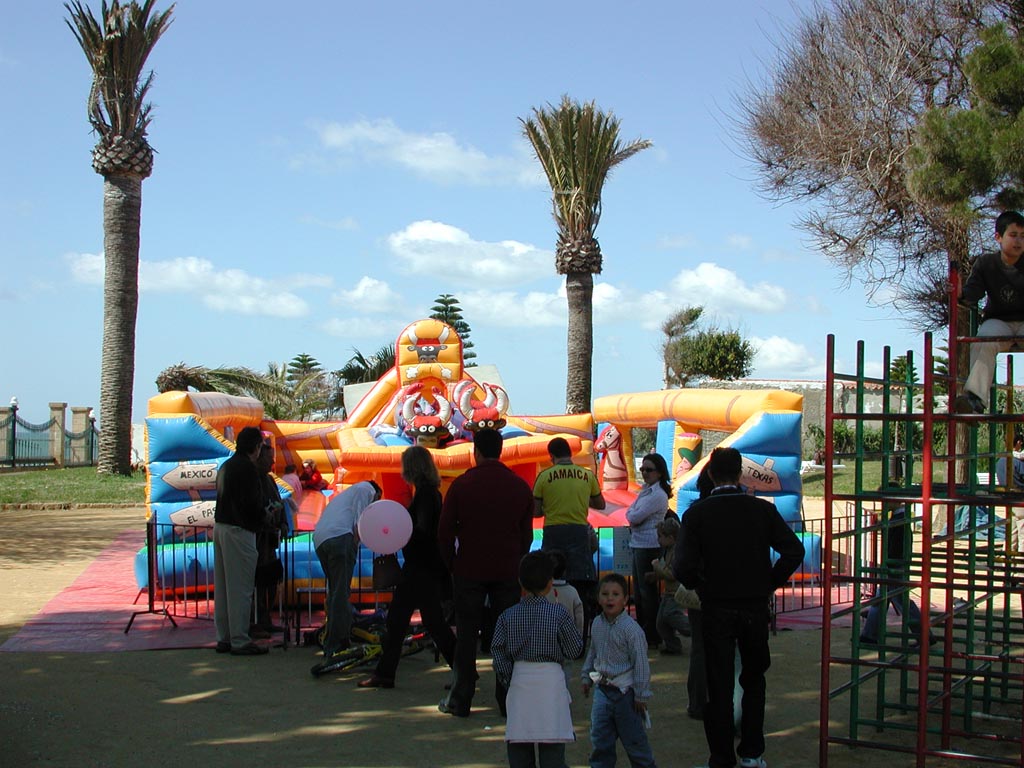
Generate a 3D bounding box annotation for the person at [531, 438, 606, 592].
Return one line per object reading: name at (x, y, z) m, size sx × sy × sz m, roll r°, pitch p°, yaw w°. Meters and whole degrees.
person at (0.572, 1.515, 12.957) m, size 0.707 × 2.090 × 0.632 m, roll -3°, pitch 20°, yaw -10°

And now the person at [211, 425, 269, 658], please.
person at (-2.993, 1.733, 13.548) m, size 0.678 × 2.492 × 0.537 m, roll -1°, pitch -4°, yaw 7°

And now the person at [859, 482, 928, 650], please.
person at (3.542, 1.778, 11.652) m, size 0.535 × 1.676 × 3.182 m, roll -1°, pitch -4°, yaw 17°

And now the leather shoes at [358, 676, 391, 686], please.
leather shoes at (-1.388, 3.021, 12.463) m, size 0.243 × 0.113 × 0.138 m, roll 7°, pitch -5°, yaw 2°

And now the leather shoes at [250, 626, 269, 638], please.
leather shoes at (-2.906, 2.895, 14.391) m, size 0.240 × 0.179 × 0.087 m, roll -2°, pitch -6°, yaw 14°

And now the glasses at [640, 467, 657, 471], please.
glasses at (1.448, 0.913, 13.316) m, size 0.150 × 0.065 × 0.076 m, roll -3°, pitch -5°, yaw 31°

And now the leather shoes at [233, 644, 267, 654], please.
leather shoes at (-2.892, 2.941, 13.707) m, size 0.372 × 0.175 × 0.143 m, roll 0°, pitch -3°, yaw -2°
